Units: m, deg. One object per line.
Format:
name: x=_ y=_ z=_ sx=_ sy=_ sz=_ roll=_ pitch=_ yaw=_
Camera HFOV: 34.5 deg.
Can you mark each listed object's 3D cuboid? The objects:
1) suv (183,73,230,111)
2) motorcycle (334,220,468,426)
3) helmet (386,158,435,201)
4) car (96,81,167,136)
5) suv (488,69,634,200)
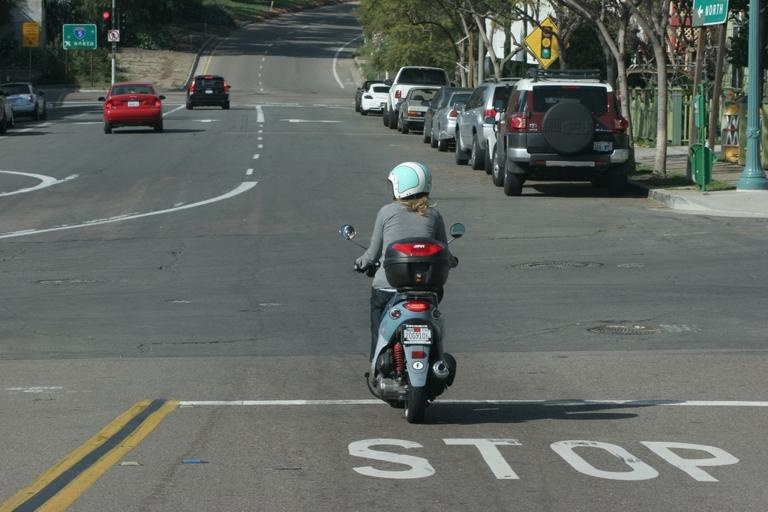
suv: x=-8.390 y=-7.818 z=58.422 sx=1.875 sy=1.700 sz=2.356 roll=-3 pitch=13 yaw=-11
motorcycle: x=0.215 y=0.719 z=12.160 sx=0.932 sy=1.810 sz=0.794 roll=2 pitch=13 yaw=11
helmet: x=0.277 y=-0.788 z=12.466 sx=0.507 sy=0.349 sz=0.374 roll=4 pitch=16 yaw=36
car: x=-8.662 y=-5.100 z=42.361 sx=1.917 sy=1.634 sz=1.273 roll=-3 pitch=13 yaw=-13
suv: x=3.628 y=-2.626 z=26.067 sx=2.409 sy=2.647 sz=2.690 roll=-3 pitch=13 yaw=-13
